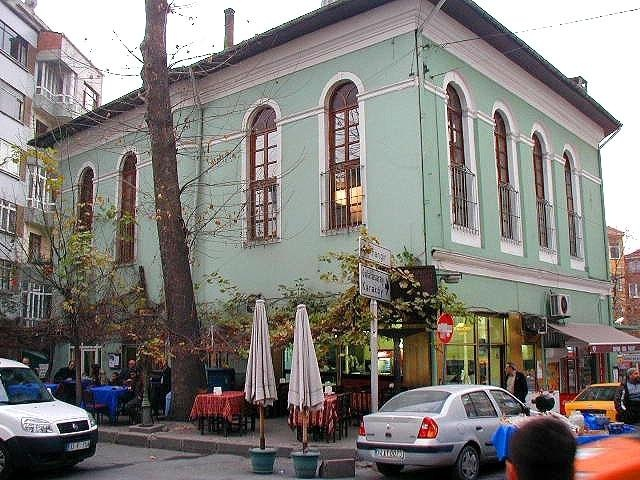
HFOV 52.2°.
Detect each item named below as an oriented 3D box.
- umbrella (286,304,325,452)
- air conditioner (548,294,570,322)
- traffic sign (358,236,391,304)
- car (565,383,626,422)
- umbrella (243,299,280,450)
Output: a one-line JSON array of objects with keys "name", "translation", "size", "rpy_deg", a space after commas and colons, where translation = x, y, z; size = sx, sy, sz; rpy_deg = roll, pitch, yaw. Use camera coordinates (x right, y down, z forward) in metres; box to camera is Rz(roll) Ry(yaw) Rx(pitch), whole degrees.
[{"name": "umbrella", "translation": [-0.319, 3.051, 14.639], "size": [0.620, 3.164, 0.568], "rpy_deg": [12, -19, -40]}, {"name": "air conditioner", "translation": [8.742, 2.394, 23.984], "size": [0.854, 0.904, 0.466], "rpy_deg": [11, -19, -37]}, {"name": "traffic sign", "translation": [1.329, 0.797, 16.106], "size": [0.118, 1.152, 1.491], "rpy_deg": [-8, -20, 25]}, {"name": "car", "translation": [7.878, 4.608, 18.776], "size": [1.194, 0.910, 2.682], "rpy_deg": [-10, -20, 29]}, {"name": "umbrella", "translation": [-1.349, 3.043, 15.232], "size": [0.748, 3.392, 0.617], "rpy_deg": [-14, -20, 41]}]
